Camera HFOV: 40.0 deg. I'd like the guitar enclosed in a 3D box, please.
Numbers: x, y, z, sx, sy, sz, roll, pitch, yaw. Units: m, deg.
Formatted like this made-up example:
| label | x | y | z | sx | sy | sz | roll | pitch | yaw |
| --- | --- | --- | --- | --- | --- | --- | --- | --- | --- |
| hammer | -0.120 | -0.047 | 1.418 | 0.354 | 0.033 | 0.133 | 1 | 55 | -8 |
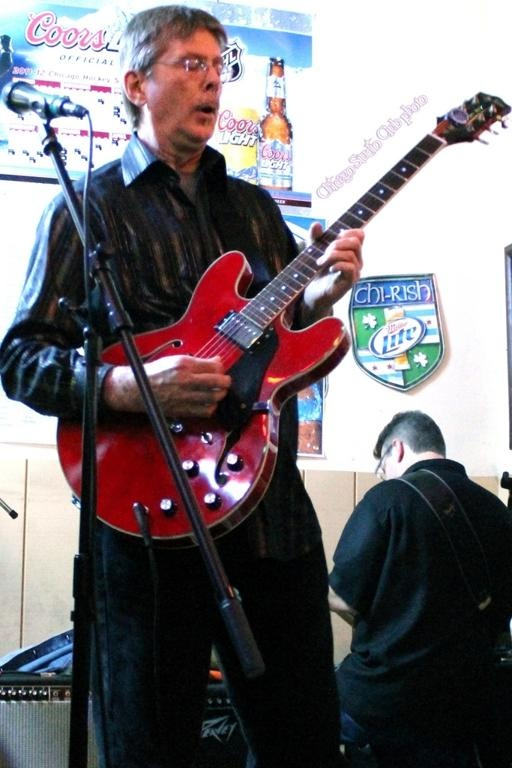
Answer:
| label | x | y | z | sx | sy | sz | roll | pitch | yaw |
| --- | --- | --- | --- | --- | --- | --- | --- | --- | --- |
| guitar | 0.079 | -0.126 | 1.087 | 0.306 | 0.818 | 0.094 | 36 | -30 | 11 |
